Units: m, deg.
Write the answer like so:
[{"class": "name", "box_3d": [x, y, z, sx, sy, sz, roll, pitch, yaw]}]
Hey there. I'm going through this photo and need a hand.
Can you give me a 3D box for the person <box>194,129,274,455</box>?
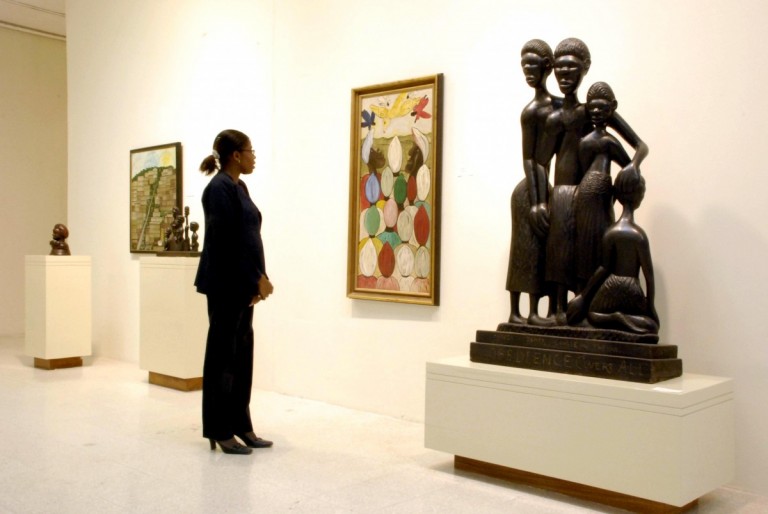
[{"class": "person", "box_3d": [-1.398, 0.333, 5.805, 0.650, 2.960, 0.485, 0, 3, -19]}]
